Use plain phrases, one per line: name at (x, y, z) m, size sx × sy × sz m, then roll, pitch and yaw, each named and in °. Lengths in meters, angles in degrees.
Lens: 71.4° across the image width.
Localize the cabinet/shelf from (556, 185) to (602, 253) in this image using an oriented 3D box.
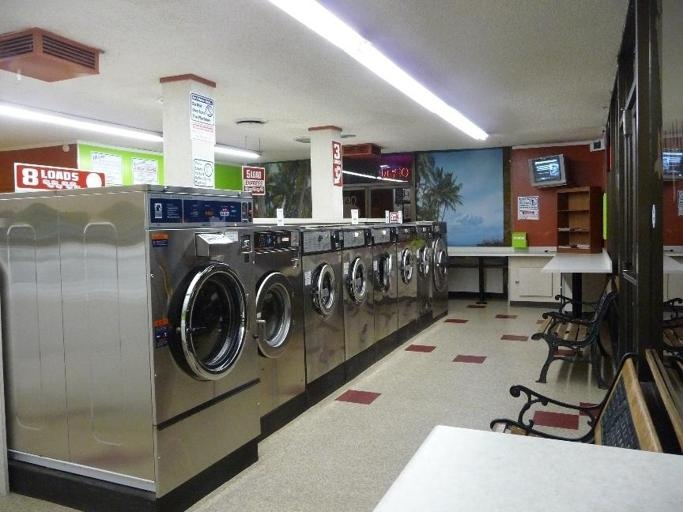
cabinet/shelf at (4.208, -0.634, 8.477) m, size 0.776 × 1.132 × 0.643 m, roll 3°, pitch 6°, yaw 44°

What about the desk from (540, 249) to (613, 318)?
desk at (3.550, 0.399, 7.127) m, size 0.520 × 0.565 × 1.091 m, roll 1°, pitch 6°, yaw 19°
